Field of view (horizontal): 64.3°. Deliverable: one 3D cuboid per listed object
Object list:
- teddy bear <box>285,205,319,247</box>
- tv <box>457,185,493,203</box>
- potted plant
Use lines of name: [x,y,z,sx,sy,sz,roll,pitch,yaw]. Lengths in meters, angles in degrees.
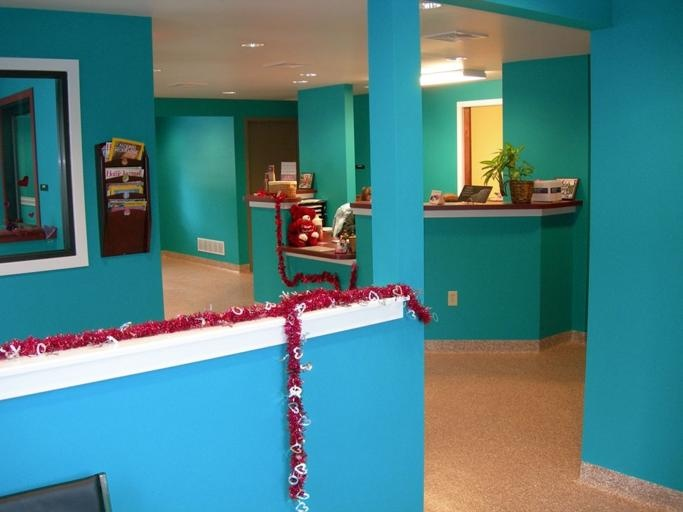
teddy bear: [-0.462,-0.347,6.439,0.422,0.536,0.299,4,-12,-39]
tv: [1.369,-0.654,5.540,0.274,0.180,0.200,1,40,35]
potted plant: [1.727,-0.844,5.535,0.565,0.649,0.517,0,7,40]
